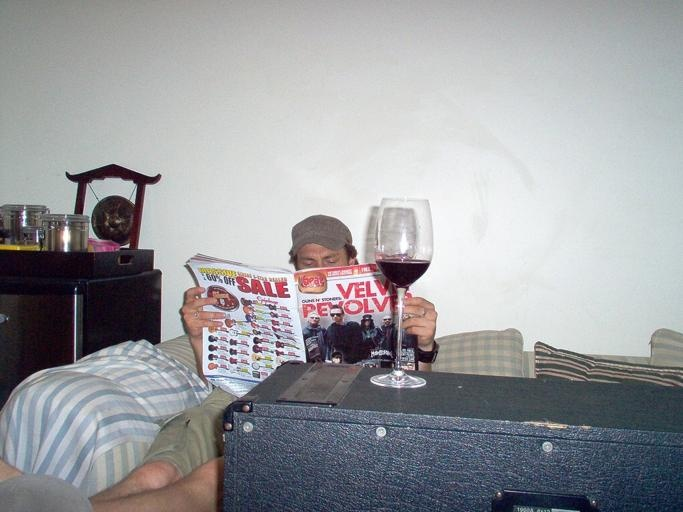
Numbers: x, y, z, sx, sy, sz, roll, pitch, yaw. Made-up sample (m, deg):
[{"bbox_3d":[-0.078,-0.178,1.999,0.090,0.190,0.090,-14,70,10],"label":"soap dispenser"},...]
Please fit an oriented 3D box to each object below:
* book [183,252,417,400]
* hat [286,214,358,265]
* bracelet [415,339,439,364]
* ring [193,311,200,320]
[{"bbox_3d":[-0.112,0.191,1.379,0.510,0.390,0.058,1,16,4],"label":"book"},{"bbox_3d":[-0.075,-0.048,1.948,0.164,0.115,0.222,-3,-15,6],"label":"hat"},{"bbox_3d":[0.280,0.316,1.692,0.080,0.094,0.046,1,-33,1],"label":"bracelet"},{"bbox_3d":[-0.427,0.176,1.558,0.023,0.024,0.008,-13,-15,38],"label":"ring"}]
